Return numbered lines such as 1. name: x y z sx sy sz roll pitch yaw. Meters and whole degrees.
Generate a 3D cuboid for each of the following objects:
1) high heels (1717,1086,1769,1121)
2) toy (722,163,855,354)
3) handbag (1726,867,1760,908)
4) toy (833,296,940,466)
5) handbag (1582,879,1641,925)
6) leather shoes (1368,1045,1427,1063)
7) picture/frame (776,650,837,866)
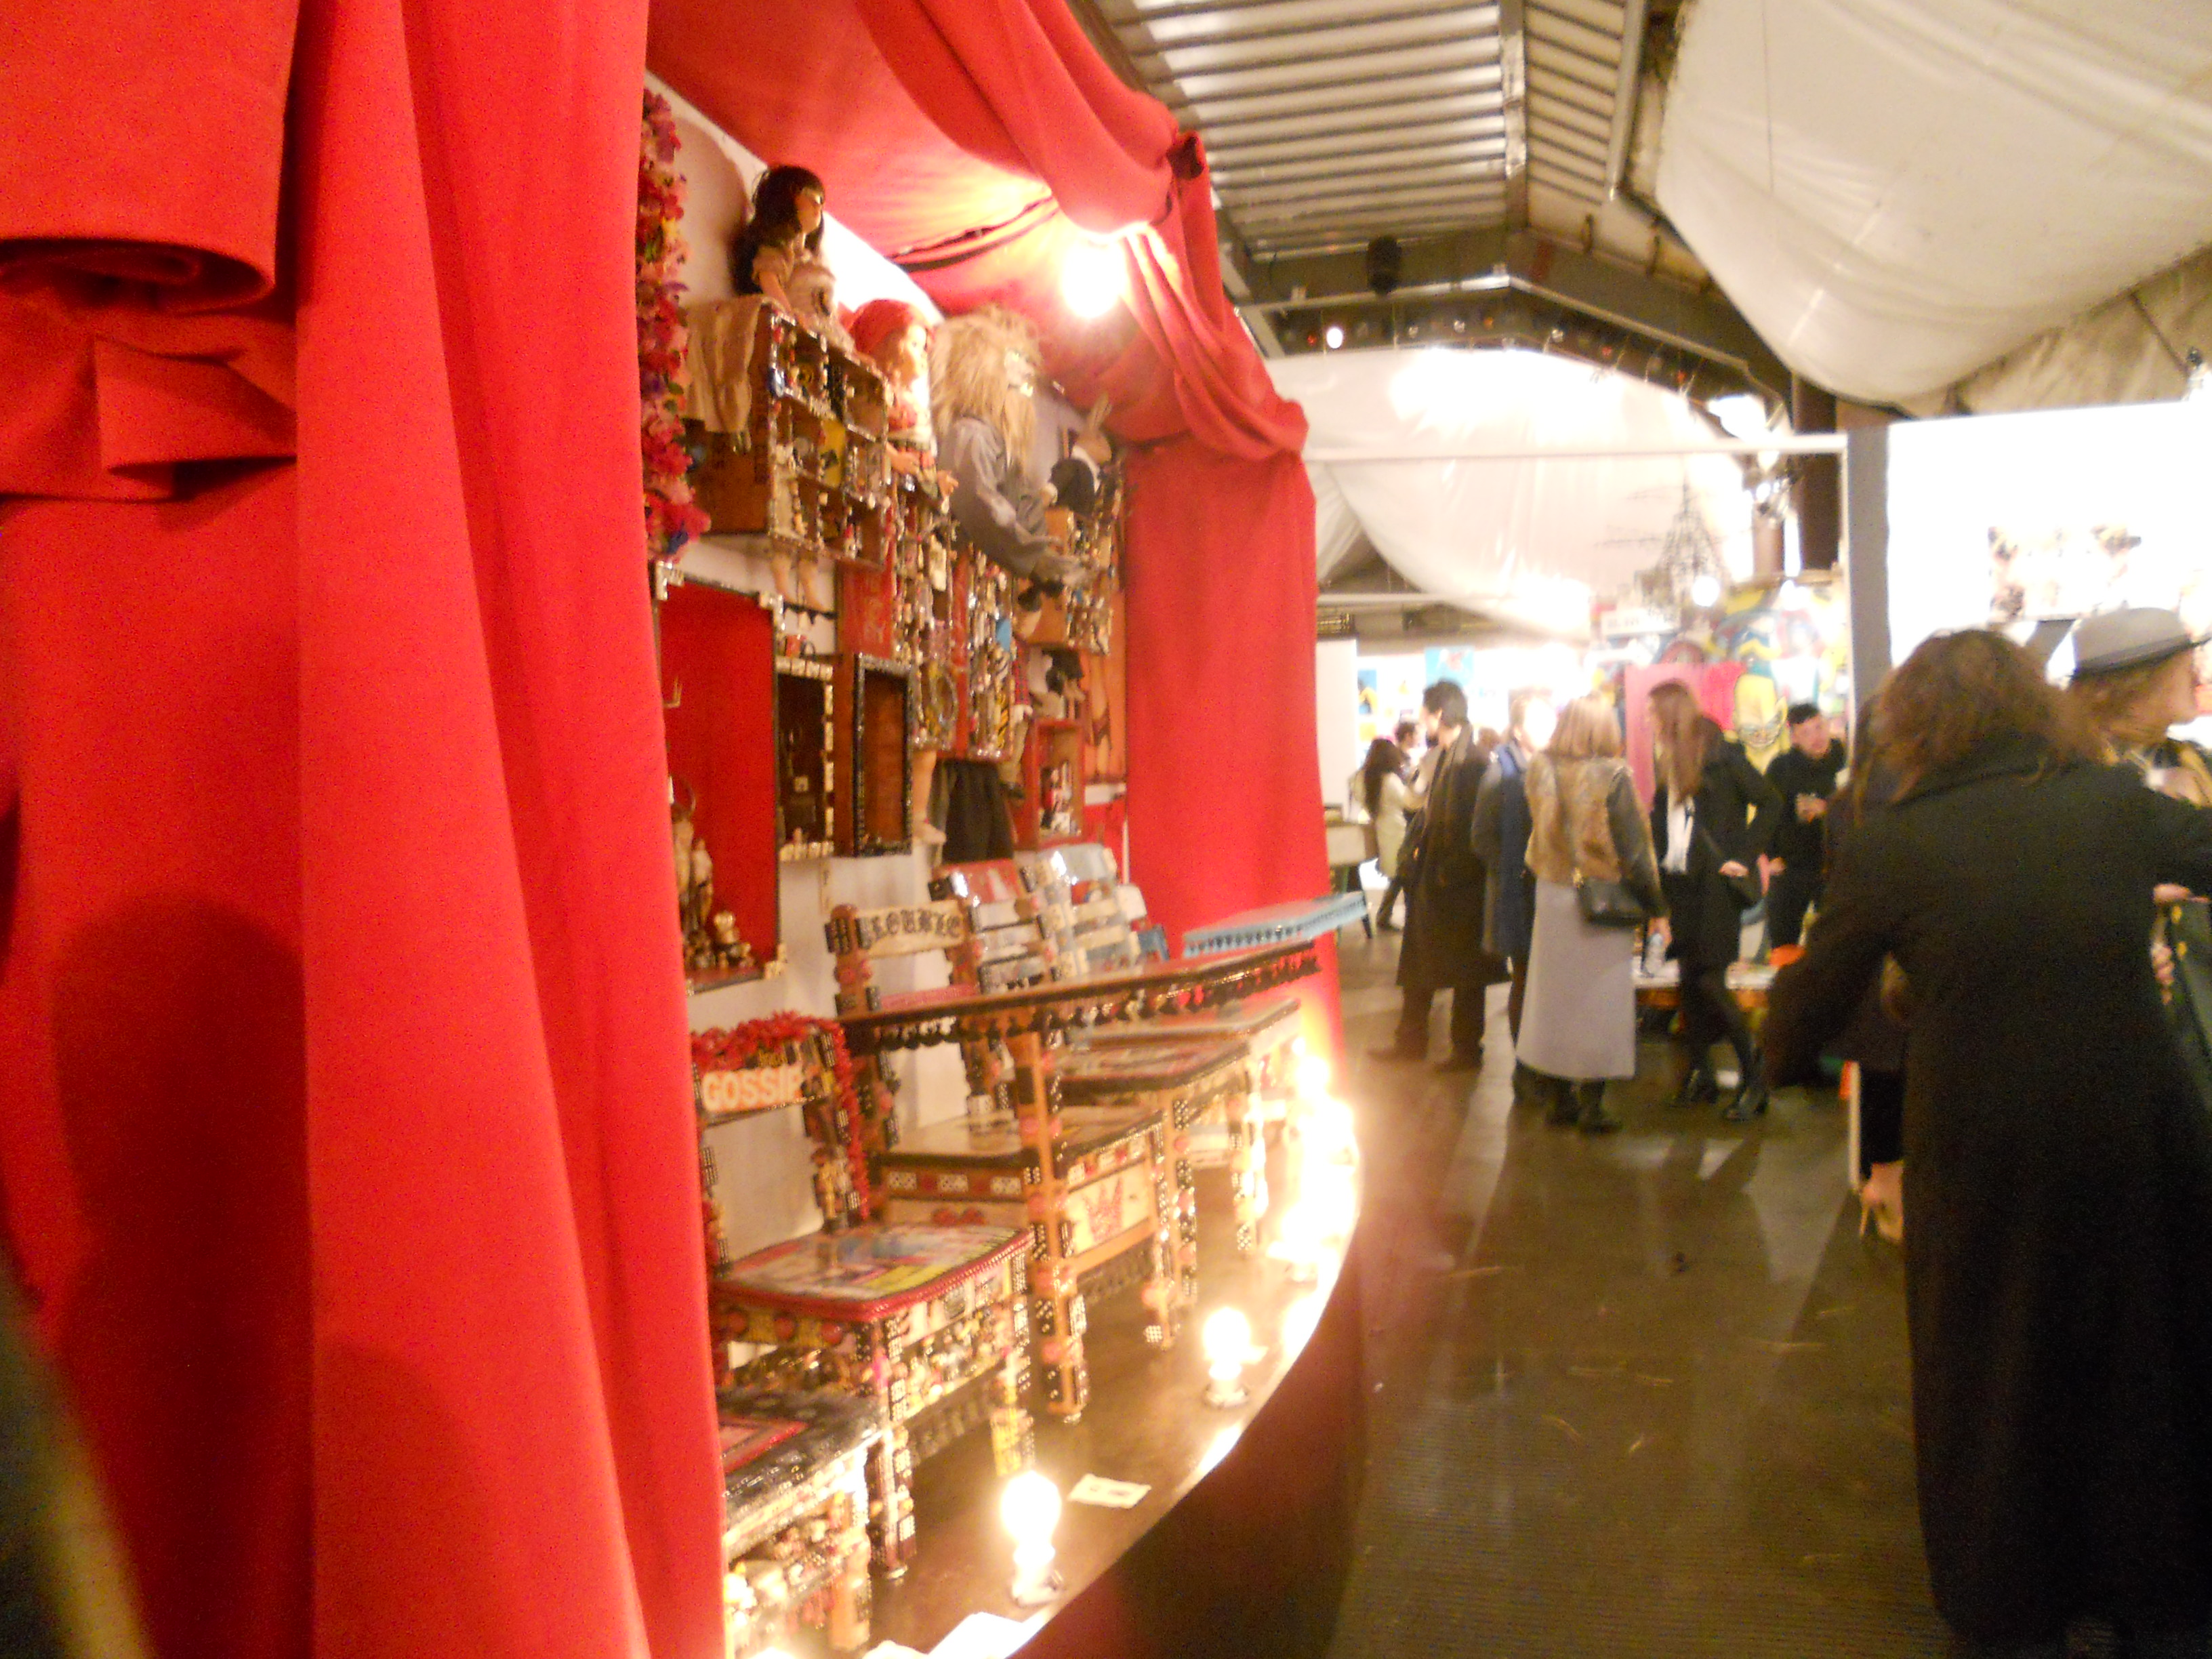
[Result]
1. high heels: 2.521 1.083 6.906 0.094 0.130 0.290 -8 -18 29
2. toy: -0.603 -1.072 3.306 0.210 0.334 0.143 -4 4 -12
3. handbag: 2.555 0.227 7.024 0.122 0.183 0.175 -4 -7 19
4. toy: -0.453 -0.932 3.642 0.150 0.321 0.574 -3 4 6
5. handbag: 1.832 0.265 6.433 0.234 0.143 0.170 2 -9 -15
6. leather shoes: 1.369 1.053 8.275 0.244 0.117 0.086 2 -2 32
7. picture/frame: -0.590 -0.142 3.365 0.031 0.391 0.272 0 1 19
